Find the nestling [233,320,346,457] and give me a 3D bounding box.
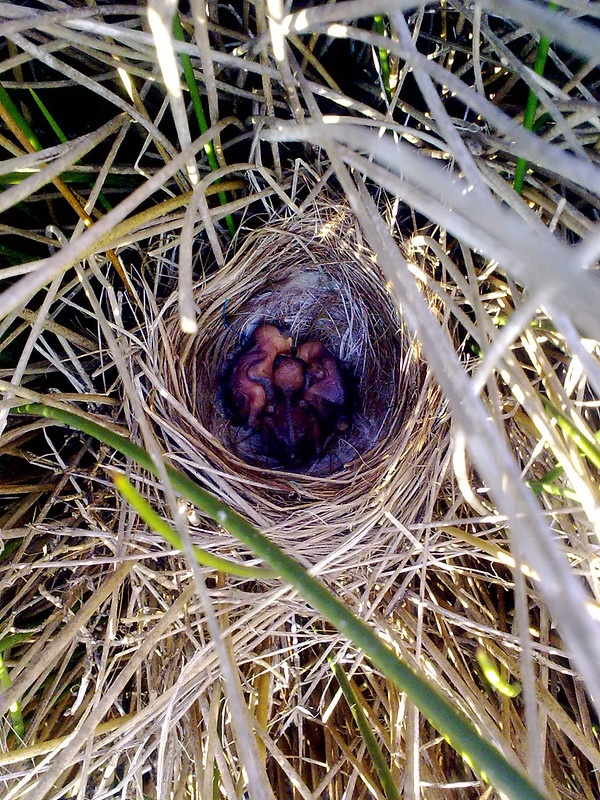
[{"bbox_3d":[-0.015,-0.007,1.218,0.186,0.085,0.211,-9,106,-4],"label":"nestling"}]
